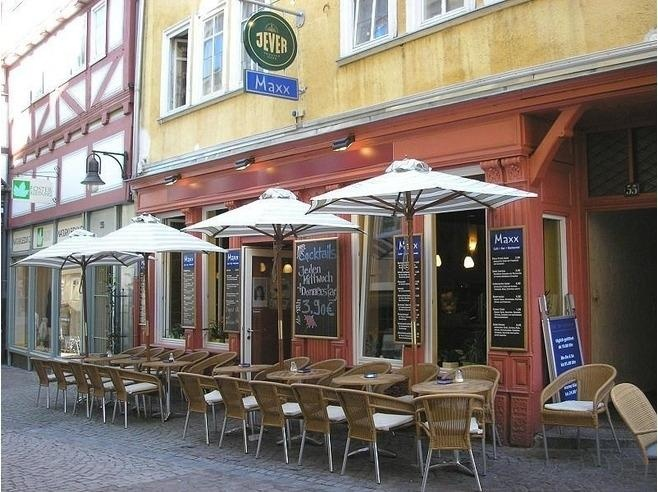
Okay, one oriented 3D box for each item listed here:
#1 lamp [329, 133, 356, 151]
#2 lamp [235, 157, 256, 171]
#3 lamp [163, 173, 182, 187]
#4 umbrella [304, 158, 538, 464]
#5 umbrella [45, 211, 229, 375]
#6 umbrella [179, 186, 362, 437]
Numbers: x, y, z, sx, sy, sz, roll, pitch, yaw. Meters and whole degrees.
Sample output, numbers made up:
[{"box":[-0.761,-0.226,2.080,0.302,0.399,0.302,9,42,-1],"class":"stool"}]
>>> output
[{"box":[0.200,-1.725,10.628,0.232,0.253,0.531,0,-4,-40],"class":"lamp"},{"box":[-1.625,-1.586,12.240,0.216,0.200,0.465,0,-4,-41],"class":"lamp"},{"box":[-3.388,-1.447,13.798,0.282,0.154,0.337,-1,-15,-11],"class":"lamp"},{"box":[0.995,0.324,7.964,2.245,2.837,2.166,-1,-3,-29],"class":"umbrella"},{"box":[-4.000,1.021,13.655,3.933,2.637,3.628,-7,-10,29],"class":"umbrella"},{"box":[-0.790,0.647,10.014,3.252,2.654,2.844,-1,-7,-1],"class":"umbrella"}]
